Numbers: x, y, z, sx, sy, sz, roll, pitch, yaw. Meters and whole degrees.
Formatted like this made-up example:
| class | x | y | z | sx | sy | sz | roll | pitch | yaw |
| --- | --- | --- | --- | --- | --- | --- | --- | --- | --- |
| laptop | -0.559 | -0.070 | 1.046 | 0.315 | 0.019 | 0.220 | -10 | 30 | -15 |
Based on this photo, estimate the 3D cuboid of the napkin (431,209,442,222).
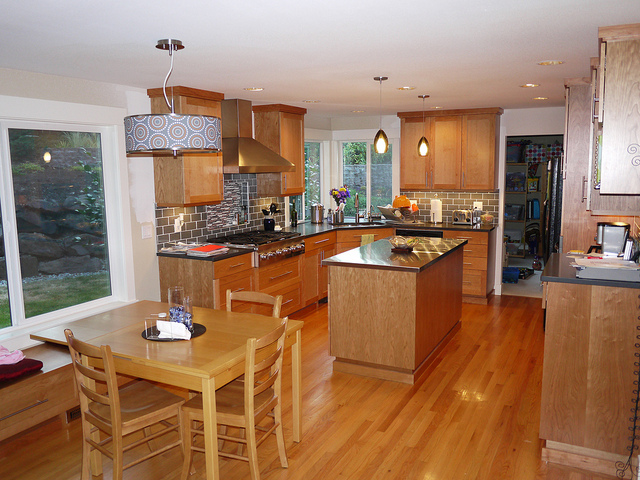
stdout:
| class | x | y | z | sx | sy | sz | roll | pitch | yaw |
| --- | --- | --- | --- | --- | --- | --- | --- | --- | --- |
| napkin | 1.844 | -0.392 | 7.372 | 0.186 | 0.193 | 0.180 | 0 | -1 | 11 |

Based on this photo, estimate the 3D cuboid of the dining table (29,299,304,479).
| class | x | y | z | sx | sy | sz | roll | pitch | yaw |
| --- | --- | --- | --- | --- | --- | --- | --- | --- | --- |
| dining table | -0.878 | 0.663 | 3.424 | 2.045 | 0.937 | 1.157 | 2 | 6 | 28 |

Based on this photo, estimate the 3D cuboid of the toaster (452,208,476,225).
| class | x | y | z | sx | sy | sz | roll | pitch | yaw |
| --- | --- | --- | --- | --- | --- | --- | --- | --- | --- |
| toaster | 2.234 | -0.361 | 7.239 | 0.368 | 0.225 | 0.232 | 5 | 13 | 23 |

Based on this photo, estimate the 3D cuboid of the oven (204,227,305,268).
| class | x | y | z | sx | sy | sz | roll | pitch | yaw |
| --- | --- | --- | --- | --- | --- | --- | --- | --- | --- |
| oven | -0.822 | 0.049 | 5.837 | 0.607 | 0.245 | 0.701 | 4 | 8 | 27 |

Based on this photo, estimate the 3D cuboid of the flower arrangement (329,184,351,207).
| class | x | y | z | sx | sy | sz | roll | pitch | yaw |
| --- | --- | --- | --- | --- | --- | --- | --- | --- | --- |
| flower arrangement | 0.320 | -0.720 | 7.712 | 0.343 | 0.323 | 0.302 | -9 | -2 | -17 |

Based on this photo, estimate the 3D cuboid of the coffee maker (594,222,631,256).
| class | x | y | z | sx | sy | sz | roll | pitch | yaw |
| --- | --- | --- | --- | --- | --- | --- | --- | --- | --- |
| coffee maker | 2.766 | 0.014 | 4.455 | 0.297 | 0.297 | 0.247 | 5 | -4 | 7 |

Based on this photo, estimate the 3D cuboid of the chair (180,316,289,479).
| class | x | y | z | sx | sy | sz | roll | pitch | yaw |
| --- | --- | --- | --- | --- | --- | --- | --- | --- | --- |
| chair | -0.583 | 1.077 | 3.285 | 0.709 | 1.094 | 0.755 | -1 | 13 | -3 |
